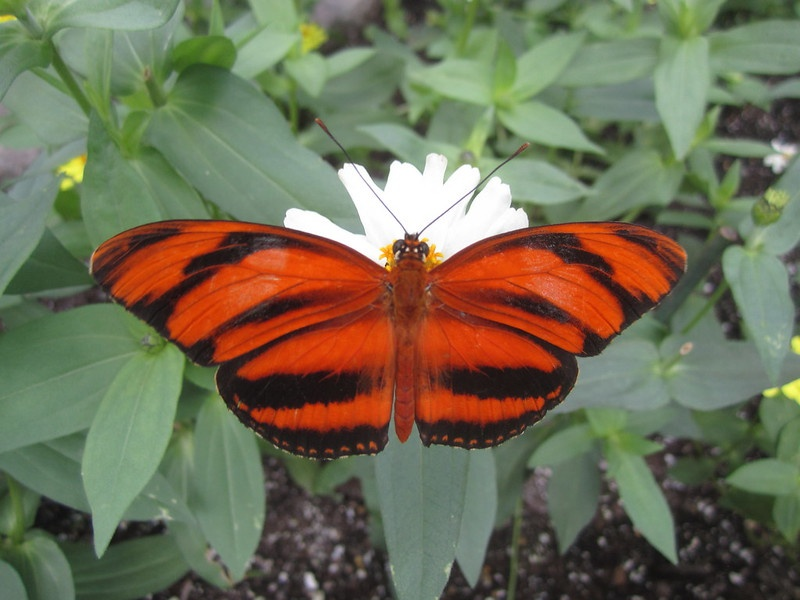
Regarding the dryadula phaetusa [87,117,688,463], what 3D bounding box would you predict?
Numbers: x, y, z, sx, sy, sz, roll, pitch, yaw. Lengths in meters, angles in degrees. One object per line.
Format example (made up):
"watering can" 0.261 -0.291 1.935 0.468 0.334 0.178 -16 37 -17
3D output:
"dryadula phaetusa" -0.006 0.000 1.191 0.830 0.296 0.391 -3 62 1
